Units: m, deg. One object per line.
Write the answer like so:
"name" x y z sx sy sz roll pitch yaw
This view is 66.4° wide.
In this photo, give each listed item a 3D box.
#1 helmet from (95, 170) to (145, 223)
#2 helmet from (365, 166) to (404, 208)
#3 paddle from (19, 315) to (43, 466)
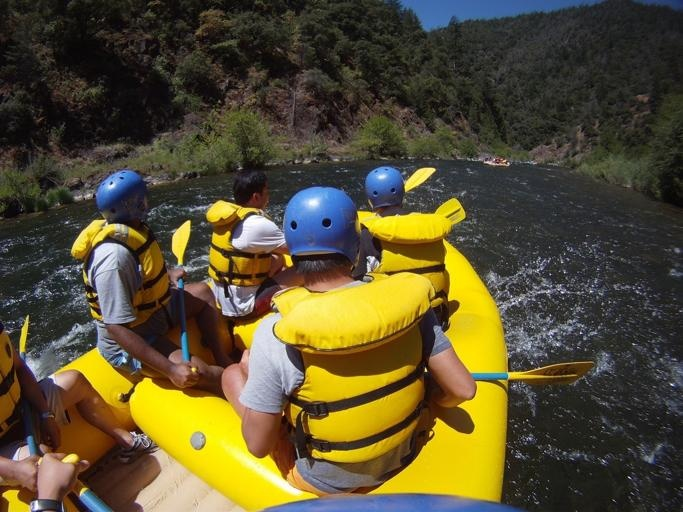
"helmet" -1.931 -0.583 4.646 0.337 0.435 0.475 6 31 7
"helmet" 0.429 -0.693 5.206 0.300 0.345 0.429 -6 13 7
"paddle" -2.791 1.207 4.668 0.097 1.068 0.111 -6 -11 -20
